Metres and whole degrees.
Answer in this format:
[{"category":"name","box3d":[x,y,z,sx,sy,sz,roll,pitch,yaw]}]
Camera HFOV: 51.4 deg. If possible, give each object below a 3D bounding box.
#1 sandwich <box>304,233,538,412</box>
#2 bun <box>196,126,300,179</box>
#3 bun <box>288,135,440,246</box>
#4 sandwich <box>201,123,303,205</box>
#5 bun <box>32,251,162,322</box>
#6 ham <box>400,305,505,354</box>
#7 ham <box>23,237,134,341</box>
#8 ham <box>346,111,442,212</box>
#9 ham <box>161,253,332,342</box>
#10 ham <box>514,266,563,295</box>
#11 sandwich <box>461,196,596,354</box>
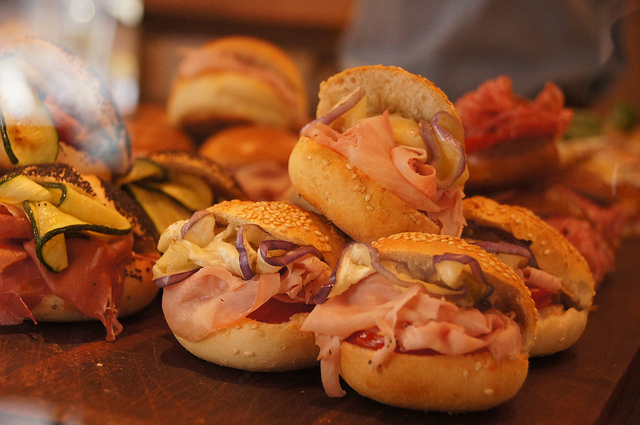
[{"category":"sandwich","box3d":[0.381,0.374,2.390,0.775,0.480,0.508,20,44,14]},{"category":"bun","box3d":[-0.472,-0.411,4.197,0.551,0.257,0.537,0,1,2]},{"category":"bun","box3d":[0.194,-0.073,2.557,0.469,0.165,0.426,33,0,-38]},{"category":"sandwich","box3d":[-0.438,-0.333,4.017,0.612,0.288,0.601,5,8,11]},{"category":"bun","box3d":[-0.922,0.340,2.773,0.381,0.131,0.365,0,3,3]},{"category":"ham","box3d":[0.469,0.403,2.297,0.262,0.108,0.180,-5,9,-1]},{"category":"ham","box3d":[-1.002,0.293,2.740,0.414,0.153,0.383,-14,75,-53]},{"category":"ham","box3d":[0.271,-0.220,2.586,0.406,0.136,0.417,3,59,-42]},{"category":"ham","box3d":[-0.305,0.316,2.511,0.489,0.370,0.198,3,72,-49]},{"category":"ham","box3d":[0.845,0.253,2.584,0.137,0.039,0.102,12,5,-5]},{"category":"sandwich","box3d":[0.874,0.224,2.787,0.652,0.339,0.503,38,-16,-19]}]
